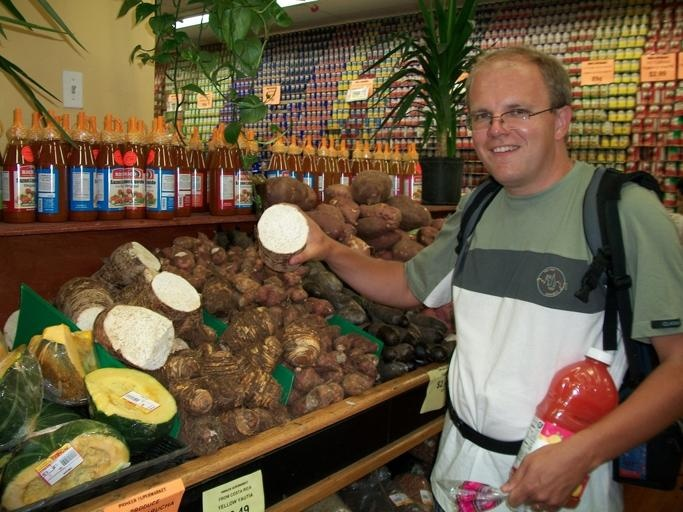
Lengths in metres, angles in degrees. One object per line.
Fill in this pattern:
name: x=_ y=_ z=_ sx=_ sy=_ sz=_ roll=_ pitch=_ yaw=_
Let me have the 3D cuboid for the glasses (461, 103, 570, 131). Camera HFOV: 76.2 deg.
glasses: x=0.543 y=-0.432 z=1.347 sx=0.288 sy=0.069 sz=0.119 roll=1 pitch=9 yaw=17

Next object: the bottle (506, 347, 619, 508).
bottle: x=0.593 y=0.526 z=1.169 sx=0.239 sy=0.570 sz=0.256 roll=-3 pitch=10 yaw=0
